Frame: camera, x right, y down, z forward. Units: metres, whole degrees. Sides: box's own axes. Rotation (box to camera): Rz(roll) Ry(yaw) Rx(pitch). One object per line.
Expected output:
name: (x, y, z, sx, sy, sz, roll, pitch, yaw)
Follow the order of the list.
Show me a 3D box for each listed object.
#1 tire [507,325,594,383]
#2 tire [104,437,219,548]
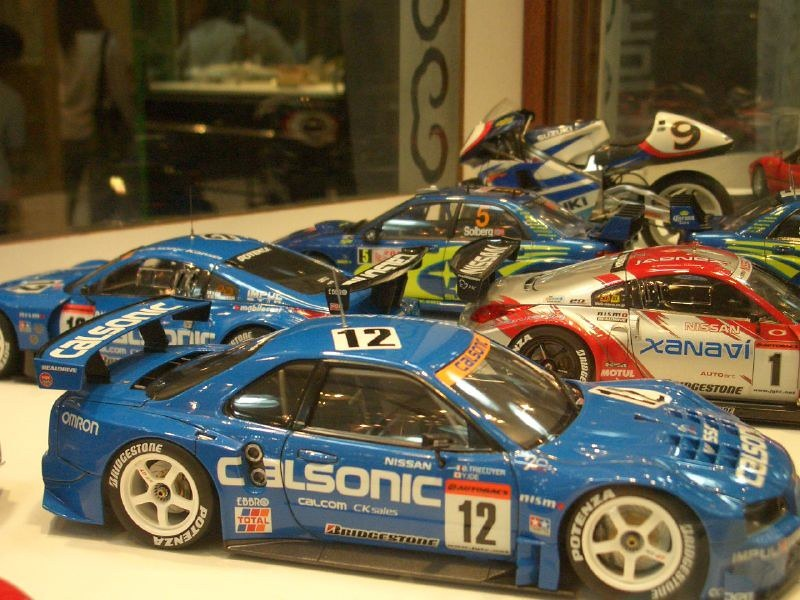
tire: (1.386, 0.481, 6.775, 0.674, 0.507, 0.209, 3, 3, 15)
tire: (-1.654, 1.325, 5.251, 1.039, 0.778, 0.294, -5, 2, 10)
